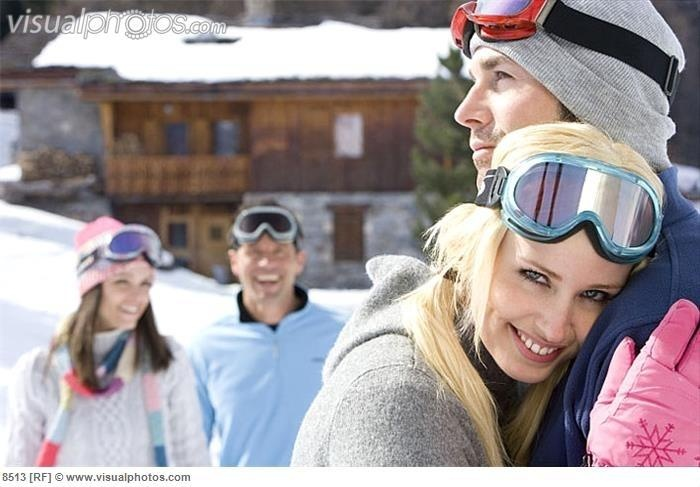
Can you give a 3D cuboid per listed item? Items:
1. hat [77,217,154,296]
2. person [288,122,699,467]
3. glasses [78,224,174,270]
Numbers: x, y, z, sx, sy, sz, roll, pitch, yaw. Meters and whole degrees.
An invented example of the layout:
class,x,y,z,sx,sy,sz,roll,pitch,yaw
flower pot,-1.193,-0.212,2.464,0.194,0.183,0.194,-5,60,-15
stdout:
class,x,y,z,sx,sy,sz,roll,pitch,yaw
hat,-0.781,0.025,3.995,0.252,0.222,0.206,-2,-3,7
person,0.479,0.119,3.832,0.958,1.171,1.091,8,2,-20
glasses,-0.754,0.013,4.019,0.188,0.080,0.167,-27,-7,10
